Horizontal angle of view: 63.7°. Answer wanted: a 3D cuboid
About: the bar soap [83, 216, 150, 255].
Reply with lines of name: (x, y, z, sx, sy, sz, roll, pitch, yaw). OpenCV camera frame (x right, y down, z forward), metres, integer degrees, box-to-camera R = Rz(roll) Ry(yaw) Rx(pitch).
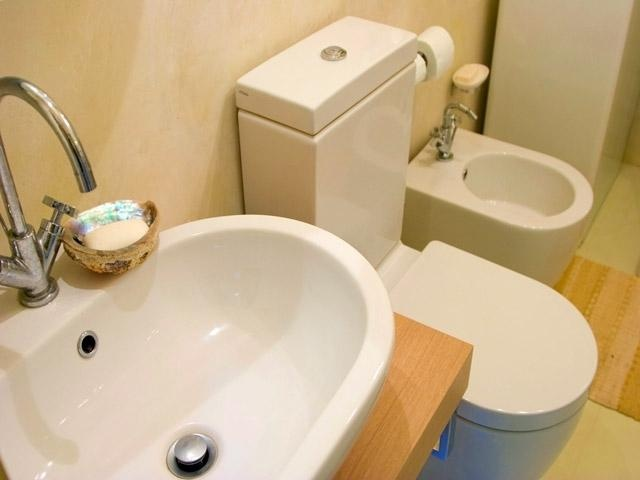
bar soap: (-0.307, -0.016, 0.792, 0.103, 0.022, 0.074, -10, 46, -20)

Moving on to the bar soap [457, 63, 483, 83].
bar soap: (0.506, -0.560, 1.732, 0.079, 0.034, 0.091, -10, 44, 15)
